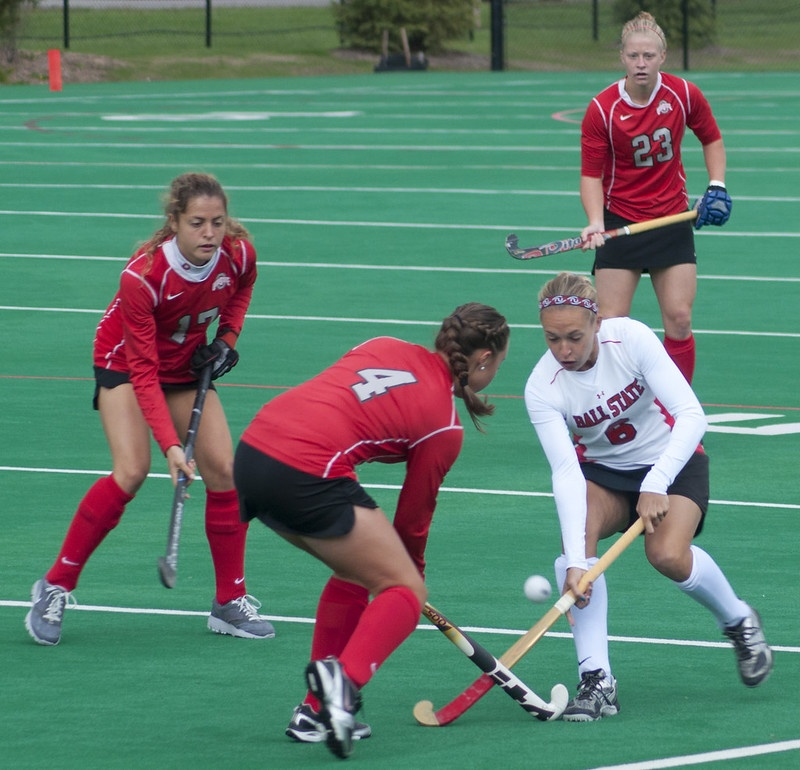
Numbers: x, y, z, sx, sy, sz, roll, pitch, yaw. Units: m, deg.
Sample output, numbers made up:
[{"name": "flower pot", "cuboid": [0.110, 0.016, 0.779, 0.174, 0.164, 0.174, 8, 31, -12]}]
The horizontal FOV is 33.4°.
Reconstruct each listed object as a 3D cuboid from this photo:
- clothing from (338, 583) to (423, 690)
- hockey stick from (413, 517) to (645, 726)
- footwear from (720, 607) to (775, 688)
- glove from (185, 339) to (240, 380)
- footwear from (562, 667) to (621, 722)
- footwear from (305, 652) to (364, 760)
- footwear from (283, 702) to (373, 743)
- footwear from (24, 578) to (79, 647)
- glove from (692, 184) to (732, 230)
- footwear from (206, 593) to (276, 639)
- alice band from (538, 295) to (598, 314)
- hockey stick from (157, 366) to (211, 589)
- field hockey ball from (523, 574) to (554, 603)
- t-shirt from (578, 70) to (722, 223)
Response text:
[{"name": "clothing", "cuboid": [-0.065, 0.741, 3.944, 0.154, 0.143, 0.461, -19, 0, 22]}, {"name": "hockey stick", "cuboid": [0.460, 0.846, 4.648, 1.065, 0.102, 0.141, -31, 29, -10]}, {"name": "footwear", "cuboid": [1.145, 0.866, 4.395, 0.097, 0.120, 0.245, -39, 30, 30]}, {"name": "glove", "cuboid": [-0.696, -0.104, 5.104, 0.147, 0.078, 0.177, -25, 19, 5]}, {"name": "footwear", "cuboid": [0.598, 0.965, 4.145, 0.152, 0.138, 0.159, 4, 9, 21]}, {"name": "footwear", "cuboid": [-0.156, 0.879, 3.619, 0.145, 0.278, 0.110, -27, 17, -23]}, {"name": "footwear", "cuboid": [-0.197, 0.998, 3.904, 0.345, 0.132, 0.116, 0, 0, -7]}, {"name": "footwear", "cuboid": [-1.283, 0.821, 4.858, 0.152, 0.199, 0.225, 0, 9, -9]}, {"name": "glove", "cuboid": [1.660, -0.952, 7.070, 0.176, 0.229, 0.256, 3, 9, 12]}, {"name": "footwear", "cuboid": [-0.592, 0.865, 5.017, 0.312, 0.129, 0.116, 4, 1, 28]}, {"name": "alice band", "cuboid": [0.542, -0.262, 4.270, 0.179, 0.056, 0.094, 1, 8, 5]}, {"name": "hockey stick", "cuboid": [-0.738, 0.305, 4.617, 0.150, 0.050, 0.983, 7, 50, -1]}, {"name": "field hockey ball", "cuboid": [0.429, 0.636, 4.123, 0.070, 0.121, 0.173, 2, 8, 8]}, {"name": "t-shirt", "cuboid": [1.360, -1.285, 7.208, 0.755, 0.789, 0.325, 1, 10, -2]}]
